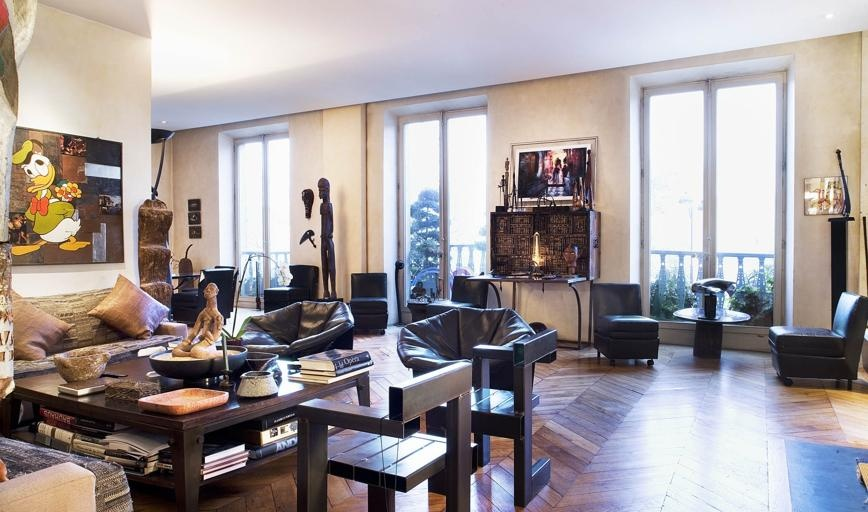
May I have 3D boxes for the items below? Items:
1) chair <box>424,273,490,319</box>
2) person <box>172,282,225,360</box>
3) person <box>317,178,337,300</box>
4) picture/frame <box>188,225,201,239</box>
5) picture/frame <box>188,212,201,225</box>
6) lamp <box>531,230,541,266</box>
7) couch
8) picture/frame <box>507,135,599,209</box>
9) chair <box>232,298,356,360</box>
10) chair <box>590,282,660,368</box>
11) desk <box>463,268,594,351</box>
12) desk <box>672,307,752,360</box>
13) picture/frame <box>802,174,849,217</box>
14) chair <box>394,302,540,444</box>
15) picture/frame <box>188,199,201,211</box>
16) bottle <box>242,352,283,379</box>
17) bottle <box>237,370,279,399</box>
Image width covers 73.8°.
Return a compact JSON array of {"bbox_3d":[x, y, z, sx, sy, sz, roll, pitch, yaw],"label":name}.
[{"bbox_3d":[0.390,0.820,9.892,1.092,0.752,1.056,0,4,6],"label":"chair"},{"bbox_3d":[-2.301,0.633,5.699,0.418,0.716,0.496,10,10,38],"label":"person"},{"bbox_3d":[-2.048,-0.324,11.041,0.338,2.282,0.954,-4,15,-11],"label":"person"},{"bbox_3d":[-5.495,-0.557,13.206,0.320,0.271,0.043,2,6,23],"label":"picture/frame"},{"bbox_3d":[-5.503,-0.860,13.180,0.321,0.271,0.073,3,-2,15],"label":"picture/frame"},{"bbox_3d":[1.698,-0.103,9.461,0.200,0.557,0.465,1,14,10],"label":"lamp"},{"bbox_3d":[-3.619,1.140,5.992,0.574,0.824,1.732,1,5,25],"label":"couch"},{"bbox_3d":[2.012,-1.348,9.743,0.069,1.154,1.727,-9,12,-39],"label":"picture/frame"},{"bbox_3d":[-1.663,0.984,7.049,1.416,0.635,1.237,-8,9,-40],"label":"chair"},{"bbox_3d":[2.911,1.014,8.814,0.861,1.046,1.088,-1,3,7],"label":"chair"},{"bbox_3d":[1.713,0.916,9.666,0.985,1.069,1.802,0,0,-42],"label":"desk"},{"bbox_3d":[4.109,1.156,8.694,0.946,0.717,0.543,1,15,11],"label":"desk"},{"bbox_3d":[5.750,-0.883,8.408,0.693,0.642,0.032,2,3,35],"label":"picture/frame"},{"bbox_3d":[0.312,1.130,6.219,1.443,0.843,1.442,-4,9,-6],"label":"chair"},{"bbox_3d":[-5.496,-1.172,13.193,0.436,0.259,0.078,6,16,26],"label":"picture/frame"},{"bbox_3d":[-1.765,1.124,5.937,0.329,0.128,0.259,1,-1,12],"label":"bottle"},{"bbox_3d":[-1.668,1.199,5.451,0.284,0.120,0.278,-2,-2,0],"label":"bottle"}]
